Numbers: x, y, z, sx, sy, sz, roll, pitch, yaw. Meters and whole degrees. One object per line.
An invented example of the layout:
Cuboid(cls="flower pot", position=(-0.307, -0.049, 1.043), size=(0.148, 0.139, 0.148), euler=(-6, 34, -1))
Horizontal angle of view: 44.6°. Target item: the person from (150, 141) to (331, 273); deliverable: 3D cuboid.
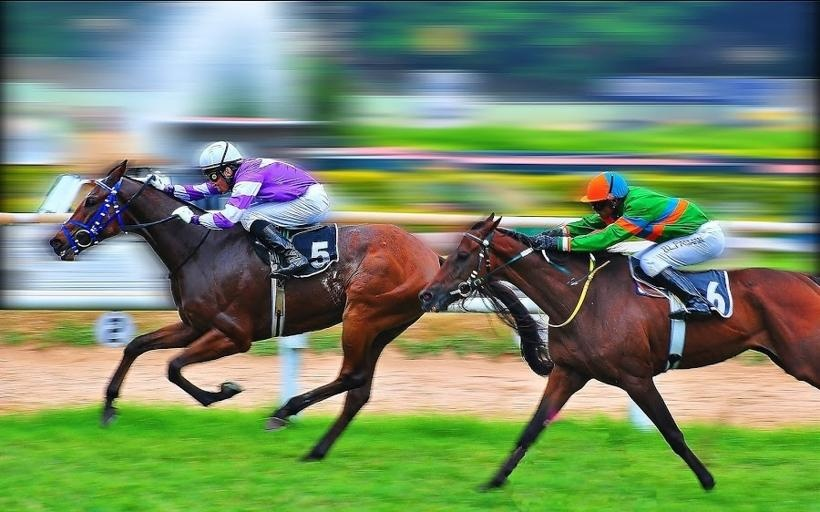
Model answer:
Cuboid(cls="person", position=(-1.307, -0.558, 9.014), size=(2.234, 0.868, 1.084), euler=(-1, 7, -7))

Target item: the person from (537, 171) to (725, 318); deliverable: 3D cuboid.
Cuboid(cls="person", position=(2.429, -0.179, 8.399), size=(1.319, 0.991, 1.917), euler=(-10, 11, -18))

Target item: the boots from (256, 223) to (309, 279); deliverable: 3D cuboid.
Cuboid(cls="boots", position=(-1.108, -0.069, 8.553), size=(0.497, 0.464, 0.185), euler=(3, 9, -6))

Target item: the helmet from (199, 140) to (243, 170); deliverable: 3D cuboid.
Cuboid(cls="helmet", position=(-1.667, -0.884, 8.818), size=(0.433, 0.182, 0.240), euler=(-21, 27, -8))

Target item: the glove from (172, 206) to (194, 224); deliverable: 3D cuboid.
Cuboid(cls="glove", position=(-1.951, -0.363, 8.618), size=(0.143, 0.118, 0.204), euler=(0, 7, -27))
